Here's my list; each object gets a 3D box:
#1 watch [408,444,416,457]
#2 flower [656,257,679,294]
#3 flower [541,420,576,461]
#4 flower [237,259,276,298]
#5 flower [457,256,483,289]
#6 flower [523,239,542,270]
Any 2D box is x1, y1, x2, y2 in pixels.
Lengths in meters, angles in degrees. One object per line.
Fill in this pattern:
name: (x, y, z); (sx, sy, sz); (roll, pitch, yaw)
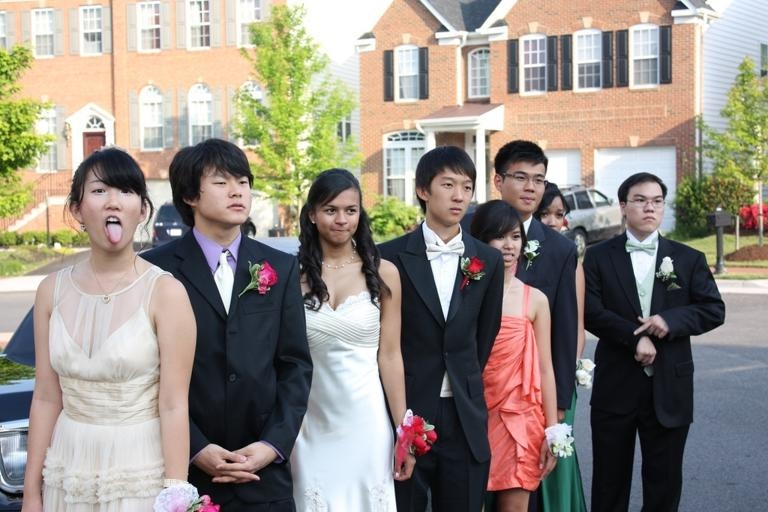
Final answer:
watch: (0.206, 1.467, 6.085); (0.050, 0.069, 0.068); (-5, -14, 20)
flower: (2.616, 0.169, 7.330); (0.128, 0.278, 0.270); (-24, -10, -15)
flower: (1.417, 1.504, 6.506); (0.261, 0.270, 0.127); (27, -18, -7)
flower: (-0.898, 0.175, 5.751); (0.260, 0.190, 0.146); (-37, -23, 2)
flower: (0.724, 0.131, 6.489); (0.214, 0.220, 0.071); (41, 8, 31)
flower: (1.334, -0.026, 7.158); (0.162, 0.242, 0.068); (11, -9, -25)
